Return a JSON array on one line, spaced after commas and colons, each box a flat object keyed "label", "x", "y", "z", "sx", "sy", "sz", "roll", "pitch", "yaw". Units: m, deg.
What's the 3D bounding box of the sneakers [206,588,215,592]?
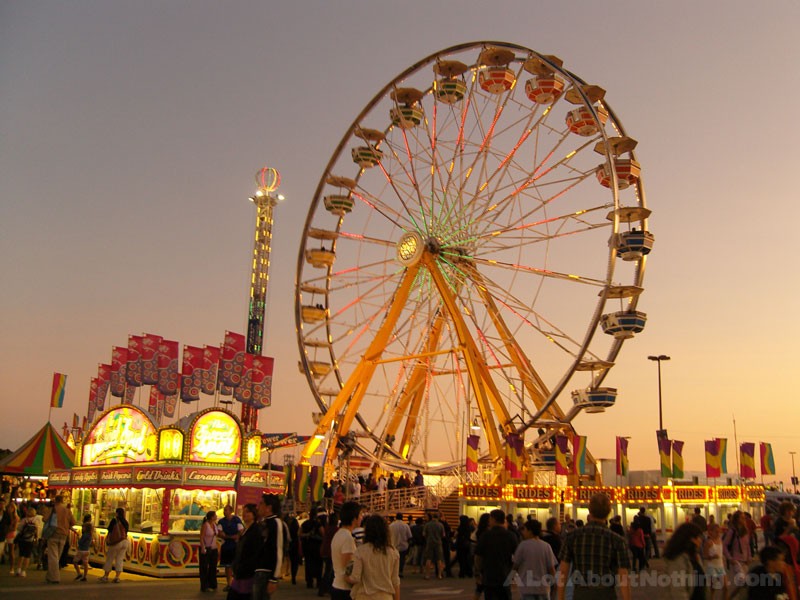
[{"label": "sneakers", "x": -4.064, "y": 6.138, "z": 14.248, "sx": 0.132, "sy": 0.132, "sz": 0.044, "roll": -11, "pitch": 23, "yaw": 25}]

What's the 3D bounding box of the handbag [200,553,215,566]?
[{"label": "handbag", "x": -4.122, "y": 5.487, "z": 14.293, "sx": 0.337, "sy": 0.287, "sz": 0.161, "roll": 7, "pitch": -20, "yaw": -18}]
